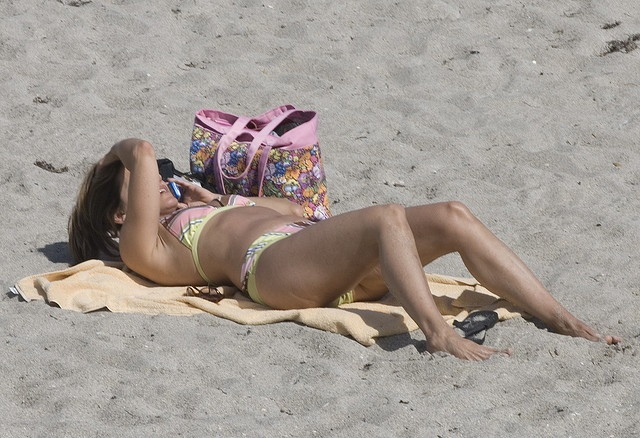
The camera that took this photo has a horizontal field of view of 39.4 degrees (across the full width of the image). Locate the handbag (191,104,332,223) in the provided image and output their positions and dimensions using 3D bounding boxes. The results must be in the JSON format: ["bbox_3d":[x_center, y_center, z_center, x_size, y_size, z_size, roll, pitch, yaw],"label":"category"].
[{"bbox_3d":[-0.471,-0.405,6.160,0.982,0.693,0.480,15,31,15],"label":"handbag"}]

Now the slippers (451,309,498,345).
[{"bbox_3d":[0.888,0.590,4.959,0.245,0.101,0.245,5,26,13],"label":"slippers"}]

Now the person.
[{"bbox_3d":[-0.008,0.106,5.242,3.359,1.110,0.973,4,10,24],"label":"person"}]

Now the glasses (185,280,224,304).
[{"bbox_3d":[-0.683,0.423,5.304,0.184,0.059,0.107,13,4,12],"label":"glasses"}]
